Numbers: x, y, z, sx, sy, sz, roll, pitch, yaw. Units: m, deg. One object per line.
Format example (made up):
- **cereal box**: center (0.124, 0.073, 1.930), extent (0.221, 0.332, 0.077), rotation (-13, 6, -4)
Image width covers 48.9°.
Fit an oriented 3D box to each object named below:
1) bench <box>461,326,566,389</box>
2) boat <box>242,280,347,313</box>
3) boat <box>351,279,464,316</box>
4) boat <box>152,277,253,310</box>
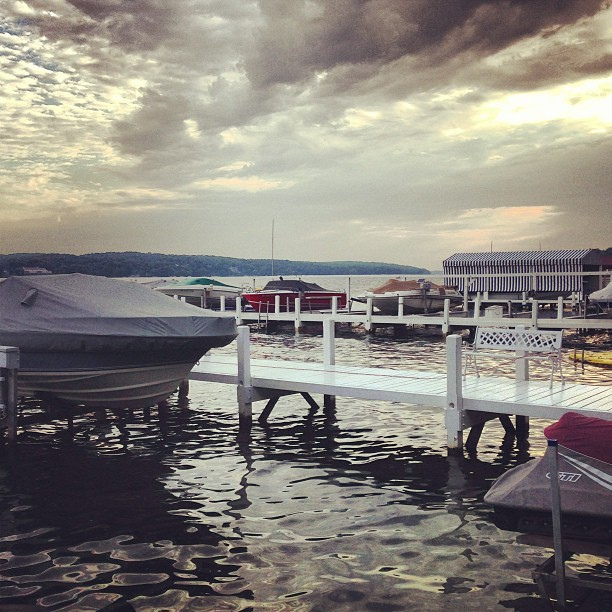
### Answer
- **bench**: center (3.384, 0.796, 11.004), extent (1.615, 0.696, 0.562), rotation (-1, 20, 45)
- **boat**: center (-0.609, -0.516, 38.726), extent (5.291, 0.999, 2.279), rotation (0, -1, -13)
- **boat**: center (6.498, -0.444, 35.138), extent (7.075, 1.320, 2.421), rotation (1, -2, -17)
- **boat**: center (-5.696, -0.736, 43.229), extent (7.257, 1.429, 2.264), rotation (5, -4, -28)
